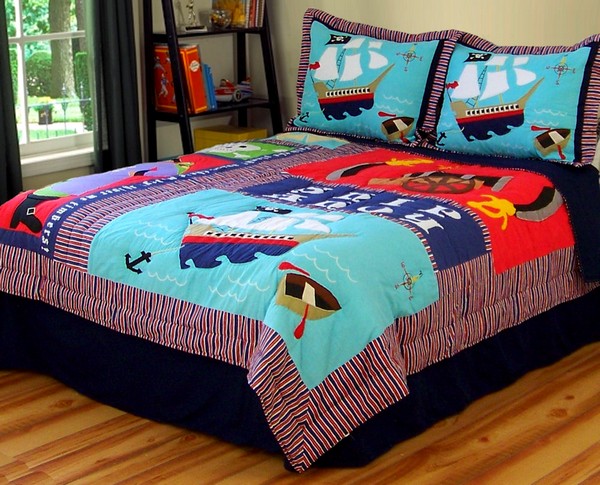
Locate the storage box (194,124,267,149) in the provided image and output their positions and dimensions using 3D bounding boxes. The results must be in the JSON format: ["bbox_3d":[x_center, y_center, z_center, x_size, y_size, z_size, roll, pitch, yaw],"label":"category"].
[{"bbox_3d":[-0.464,-0.706,3.481,0.383,0.170,0.341,8,13,34],"label":"storage box"}]

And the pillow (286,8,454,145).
[{"bbox_3d":[0.379,-0.840,2.735,1.050,0.567,0.210,16,-4,35],"label":"pillow"}]
